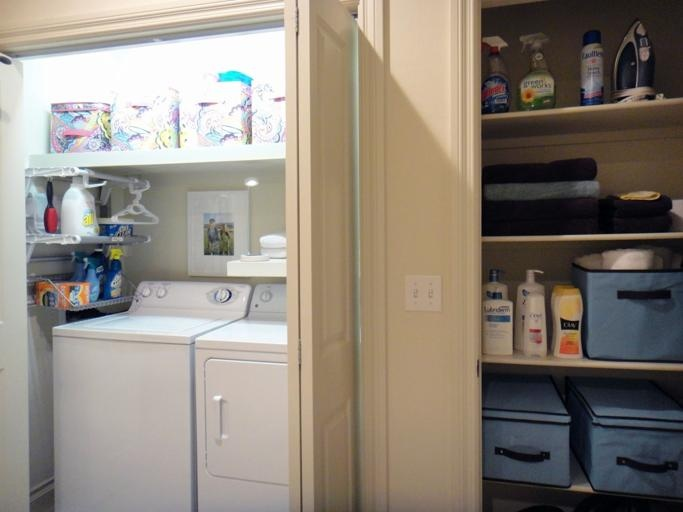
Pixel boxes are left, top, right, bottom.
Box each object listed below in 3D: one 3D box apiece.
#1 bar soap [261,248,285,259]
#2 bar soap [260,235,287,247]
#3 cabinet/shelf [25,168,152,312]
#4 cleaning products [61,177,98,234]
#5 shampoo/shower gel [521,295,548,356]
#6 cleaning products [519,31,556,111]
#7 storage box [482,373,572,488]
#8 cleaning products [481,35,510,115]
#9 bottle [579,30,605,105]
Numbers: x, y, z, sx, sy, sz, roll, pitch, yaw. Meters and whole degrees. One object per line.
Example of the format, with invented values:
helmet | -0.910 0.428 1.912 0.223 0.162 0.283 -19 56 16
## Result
bar soap | -0.366 -0.011 2.913 0.136 0.052 0.094 -1 3 9
bar soap | -0.362 -0.078 2.947 0.133 0.070 0.090 -2 3 -2
cabinet/shelf | -1.488 -0.102 3.245 0.382 0.760 0.852 0 2 7
cleaning products | -1.465 -0.275 3.116 0.188 0.339 0.184 -3 3 -26
shampoo/shower gel | 0.869 0.312 2.529 0.107 0.283 0.078 -1 3 17
cleaning products | 0.912 -0.856 2.619 0.146 0.397 0.316 0 3 19
storage box | 0.866 0.810 2.633 0.387 0.395 0.363 -1 3 16
cleaning products | 0.695 -0.818 2.533 0.120 0.348 0.063 -1 3 15
bottle | 1.105 -0.831 2.473 0.084 0.326 0.048 -1 3 10
